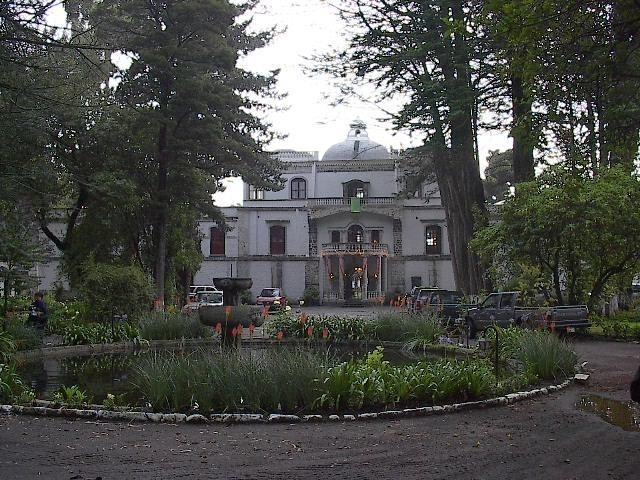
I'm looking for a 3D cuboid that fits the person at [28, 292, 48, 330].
[{"bbox_3d":[-8.865,2.233,24.061,0.522,1.165,1.197,3,-7,-22],"label":"person"}]

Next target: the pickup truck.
[{"bbox_3d":[6.410,2.388,25.137,2.007,1.509,3.634,4,-4,-42],"label":"pickup truck"}]

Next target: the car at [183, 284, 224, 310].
[{"bbox_3d":[-5.576,2.703,36.278,1.229,1.307,2.708,0,-12,-2],"label":"car"}]
